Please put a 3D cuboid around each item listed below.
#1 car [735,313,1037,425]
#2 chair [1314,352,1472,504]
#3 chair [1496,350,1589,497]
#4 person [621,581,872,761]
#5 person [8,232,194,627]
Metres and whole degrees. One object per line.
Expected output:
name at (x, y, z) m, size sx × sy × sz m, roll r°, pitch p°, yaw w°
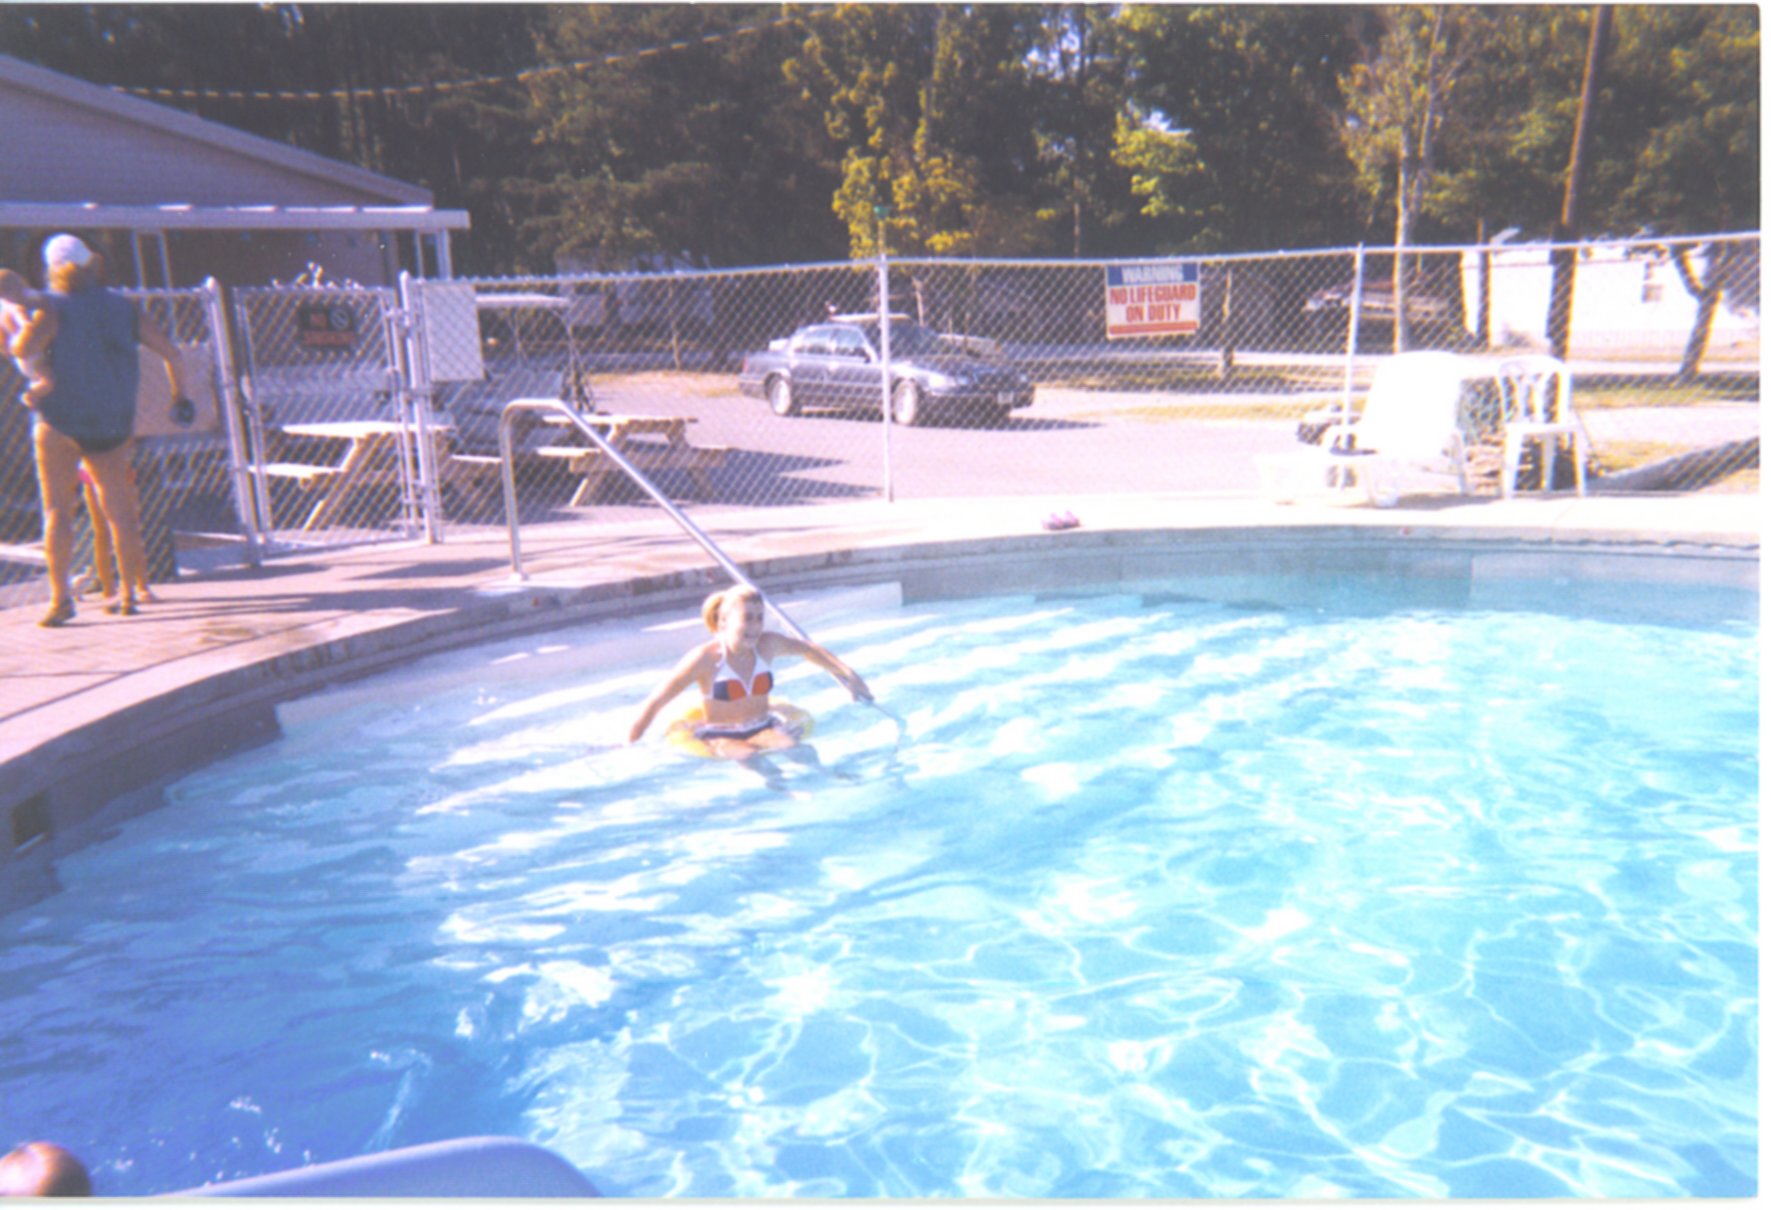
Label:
car at (-0.174, -3.695, 21.380) m, size 4.473 × 1.231 × 2.044 m, roll 7°, pitch 13°, yaw 34°
chair at (5.128, -1.789, 13.265) m, size 1.313 × 1.421 × 2.694 m, roll 3°, pitch 13°, yaw 23°
chair at (6.513, -1.798, 13.135) m, size 0.820 × 1.337 × 2.147 m, roll 3°, pitch 13°, yaw 25°
person at (-0.907, 0.455, 8.333) m, size 1.482 × 0.887 × 1.048 m, roll -16°, pitch 31°, yaw -32°
person at (-5.534, -1.233, 9.292) m, size 0.610 × 2.633 × 0.978 m, roll 2°, pitch 13°, yaw 20°
